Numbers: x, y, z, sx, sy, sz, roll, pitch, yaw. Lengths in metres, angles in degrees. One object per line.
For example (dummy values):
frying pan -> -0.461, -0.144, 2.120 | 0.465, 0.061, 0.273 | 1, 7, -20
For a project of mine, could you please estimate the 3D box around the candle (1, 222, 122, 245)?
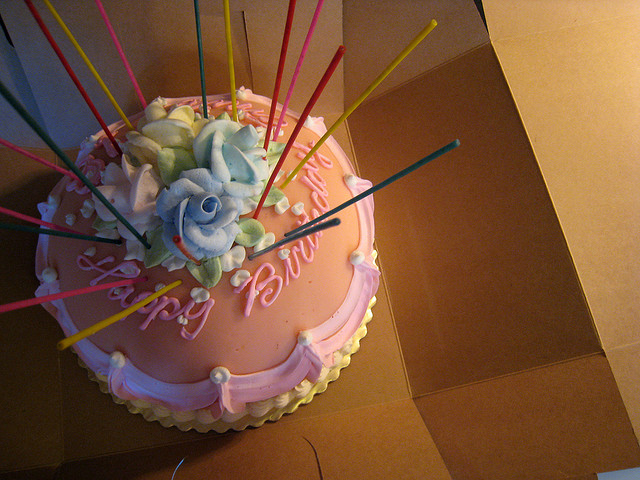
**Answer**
candle -> -1.277, -0.039, 2.704 | 0.494, 0.052, 0.025 | 12, 56, -39
